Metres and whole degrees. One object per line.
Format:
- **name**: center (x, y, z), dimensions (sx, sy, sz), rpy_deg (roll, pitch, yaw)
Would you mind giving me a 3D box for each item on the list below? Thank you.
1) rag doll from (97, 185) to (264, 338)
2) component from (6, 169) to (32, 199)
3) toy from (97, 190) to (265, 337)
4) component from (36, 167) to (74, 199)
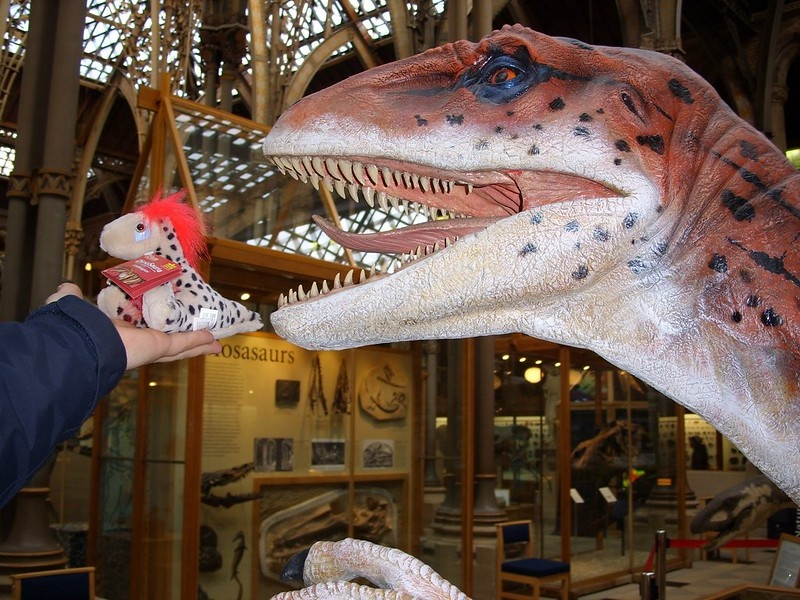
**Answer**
- **rag doll**: center (-0.660, -0.088, 2.467), dimensions (0.299, 0.408, 0.584), rpy_deg (-1, -7, 34)
- **component**: center (-3.263, -0.976, 6.885), dimensions (0.265, 0.231, 0.132), rpy_deg (-1, -10, 20)
- **toy**: center (-0.647, -0.090, 2.455), dimensions (0.301, 0.408, 0.570), rpy_deg (0, -6, 40)
- **component**: center (-2.828, -0.955, 6.622), dimensions (0.246, 0.215, 0.236), rpy_deg (3, 3, -21)
